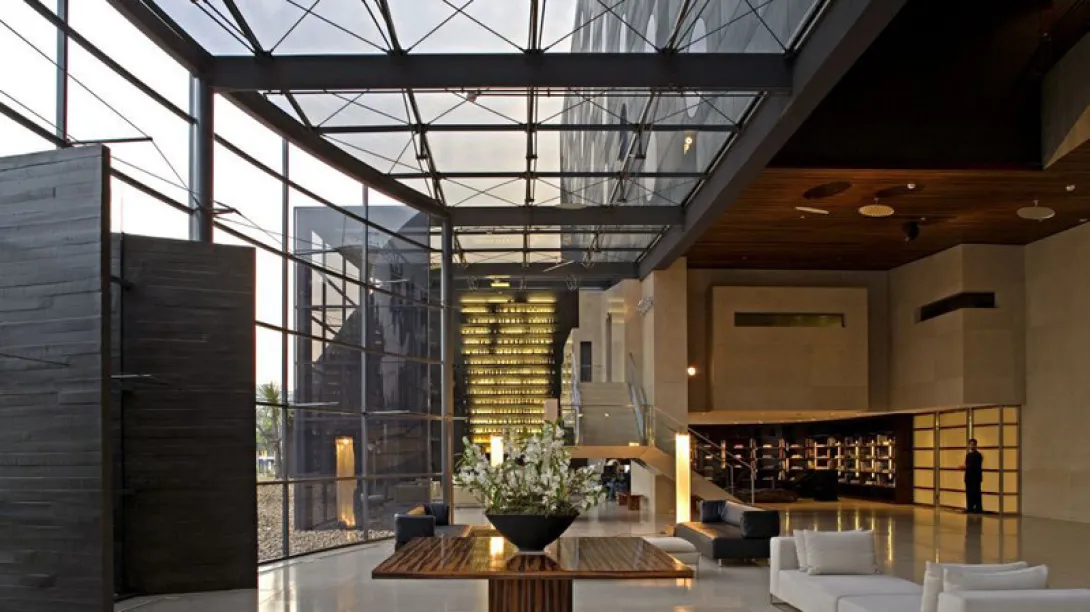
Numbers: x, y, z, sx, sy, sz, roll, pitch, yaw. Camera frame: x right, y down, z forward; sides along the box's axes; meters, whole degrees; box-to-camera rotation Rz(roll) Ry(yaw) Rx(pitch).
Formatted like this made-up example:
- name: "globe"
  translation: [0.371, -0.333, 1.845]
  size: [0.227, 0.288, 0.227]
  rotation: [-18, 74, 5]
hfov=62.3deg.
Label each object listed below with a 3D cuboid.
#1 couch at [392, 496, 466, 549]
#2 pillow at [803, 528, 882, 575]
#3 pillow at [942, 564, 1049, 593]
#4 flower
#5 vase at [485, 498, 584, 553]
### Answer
- name: "couch"
  translation: [-2.653, 4.732, 19.808]
  size: [1.084, 0.806, 2.215]
  rotation: [-1, -6, 0]
- name: "pillow"
  translation: [5.281, 4.385, 16.027]
  size: [1.732, 0.904, 0.538]
  rotation: [0, -15, 2]
- name: "pillow"
  translation: [6.772, 4.057, 13.485]
  size: [1.660, 0.310, 0.533]
  rotation: [2, -15, -16]
- name: "flower"
  translation: [-0.230, 2.424, 13.604]
  size: [2.085, 1.413, 0.778]
  rotation: [-1, -15, -5]
- name: "vase"
  translation: [-0.204, 3.310, 13.528]
  size: [1.328, 0.687, 0.374]
  rotation: [-2, -15, 3]
